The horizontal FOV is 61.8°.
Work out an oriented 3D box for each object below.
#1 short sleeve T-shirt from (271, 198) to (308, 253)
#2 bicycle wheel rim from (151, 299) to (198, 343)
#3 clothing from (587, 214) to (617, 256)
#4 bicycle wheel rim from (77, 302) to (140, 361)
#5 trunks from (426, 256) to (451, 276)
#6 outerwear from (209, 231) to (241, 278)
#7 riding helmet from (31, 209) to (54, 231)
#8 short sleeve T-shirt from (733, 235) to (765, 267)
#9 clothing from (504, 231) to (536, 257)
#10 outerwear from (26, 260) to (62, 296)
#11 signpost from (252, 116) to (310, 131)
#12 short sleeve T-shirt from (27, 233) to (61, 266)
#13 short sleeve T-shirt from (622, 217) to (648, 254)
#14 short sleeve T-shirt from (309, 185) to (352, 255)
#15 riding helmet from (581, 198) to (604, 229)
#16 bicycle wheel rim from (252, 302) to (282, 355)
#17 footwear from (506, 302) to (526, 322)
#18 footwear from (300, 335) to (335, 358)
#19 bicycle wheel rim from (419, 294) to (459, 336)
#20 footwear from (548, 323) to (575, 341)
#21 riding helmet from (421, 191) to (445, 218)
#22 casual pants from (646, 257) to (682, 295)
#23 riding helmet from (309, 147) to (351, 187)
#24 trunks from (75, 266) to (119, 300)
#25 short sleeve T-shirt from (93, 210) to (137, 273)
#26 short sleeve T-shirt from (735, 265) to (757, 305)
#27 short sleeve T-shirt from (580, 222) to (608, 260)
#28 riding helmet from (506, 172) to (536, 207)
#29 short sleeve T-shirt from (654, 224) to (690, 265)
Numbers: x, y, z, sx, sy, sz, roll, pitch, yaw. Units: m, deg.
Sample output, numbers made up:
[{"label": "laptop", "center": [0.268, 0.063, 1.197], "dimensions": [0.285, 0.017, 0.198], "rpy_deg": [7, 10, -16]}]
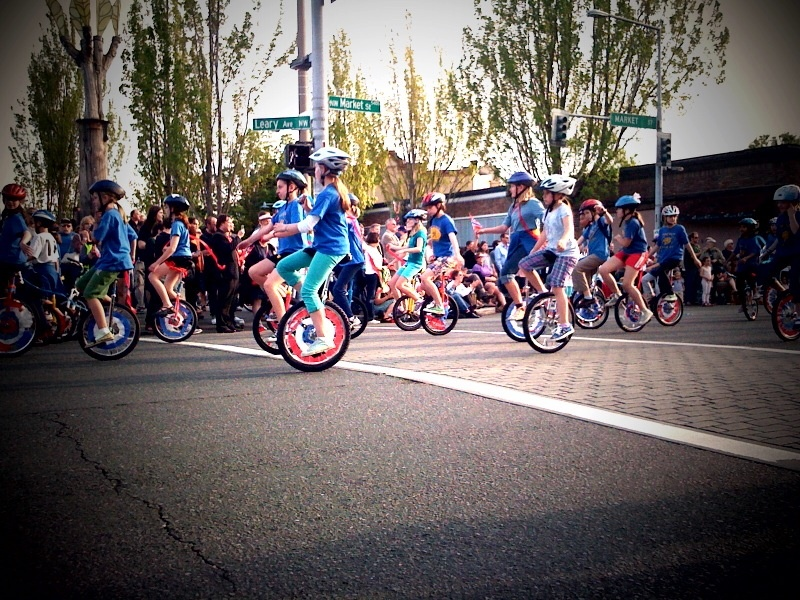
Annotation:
[{"label": "short sleeve T-shirt", "center": [-1.601, -1.034, 9.624], "dimensions": [0.454, 0.775, 0.725], "rpy_deg": [-8, 19, -34]}, {"label": "bicycle wheel rim", "center": [-3.622, 0.328, 10.876], "dimensions": [0.680, 0.739, 0.712], "rpy_deg": [-3, 20, -5]}, {"label": "clothing", "center": [3.604, -1.158, 12.068], "dimensions": [0.332, 0.667, 0.659], "rpy_deg": [17, -29, -21]}, {"label": "bicycle wheel rim", "center": [-3.757, 0.407, 8.631], "dimensions": [0.703, 0.724, 0.397], "rpy_deg": [-3, 6, -27]}, {"label": "trunks", "center": [0.692, -0.590, 12.118], "dimensions": [0.425, 0.290, 0.172], "rpy_deg": [-29, 0, -30]}, {"label": "outerwear", "center": [-3.279, -0.953, 13.026], "dimensions": [0.425, 0.580, 0.832], "rpy_deg": [-6, -38, 11]}, {"label": "riding helmet", "center": [-5.670, -1.267, 10.658], "dimensions": [0.316, 0.307, 0.740], "rpy_deg": [-3, 6, -28]}, {"label": "short sleeve T-shirt", "center": [8.393, -1.159, 16.222], "dimensions": [0.472, 0.896, 0.718], "rpy_deg": [-2, 9, -20]}, {"label": "clothing", "center": [1.886, -0.919, 10.446], "dimensions": [0.306, 0.364, 0.501], "rpy_deg": [10, -11, -29]}, {"label": "outerwear", "center": [-5.164, -0.311, 9.660], "dimensions": [0.194, 0.675, 0.444], "rpy_deg": [-10, -8, 24]}, {"label": "signpost", "center": [-2.677, -4.041, 15.256], "dimensions": [1.285, 0.340, 0.427], "rpy_deg": [-1, 5, -10]}, {"label": "short sleeve T-shirt", "center": [-5.186, -0.726, 9.712], "dimensions": [0.211, 0.453, 0.499], "rpy_deg": [-3, -4, 16]}, {"label": "short sleeve T-shirt", "center": [4.146, -1.133, 11.958], "dimensions": [0.502, 0.774, 0.755], "rpy_deg": [-2, 4, 15]}, {"label": "short sleeve T-shirt", "center": [-0.790, -0.971, 7.557], "dimensions": [0.433, 0.831, 0.841], "rpy_deg": [6, 24, 11]}, {"label": "riding helmet", "center": [3.416, -1.588, 12.178], "dimensions": [0.443, 0.482, 0.380], "rpy_deg": [-4, -3, 0]}, {"label": "bicycle wheel rim", "center": [-1.693, 0.388, 8.539], "dimensions": [0.161, 0.563, 0.501], "rpy_deg": [-4, -25, 20]}, {"label": "footwear", "center": [1.789, 0.180, 9.982], "dimensions": [0.144, 0.279, 0.385], "rpy_deg": [-4, -1, 44]}, {"label": "footwear", "center": [-0.916, 0.503, 7.454], "dimensions": [0.368, 0.169, 0.162], "rpy_deg": [-16, 1, -13]}, {"label": "bicycle wheel rim", "center": [0.684, 0.269, 12.116], "dimensions": [0.576, 0.667, 0.167], "rpy_deg": [-9, 7, -13]}, {"label": "footwear", "center": [2.202, 0.432, 9.082], "dimensions": [0.391, 0.180, 0.142], "rpy_deg": [-2, -6, -40]}, {"label": "riding helmet", "center": [0.612, -1.753, 11.919], "dimensions": [0.521, 0.559, 0.460], "rpy_deg": [2, -1, -1]}, {"label": "casual pants", "center": [5.322, -0.480, 13.677], "dimensions": [0.634, 1.004, 0.675], "rpy_deg": [7, 2, 15]}, {"label": "riding helmet", "center": [-0.855, -1.594, 7.605], "dimensions": [0.453, 0.292, 0.334], "rpy_deg": [39, 32, 24]}, {"label": "trunks", "center": [-3.926, -0.228, 8.698], "dimensions": [0.515, 0.395, 0.447], "rpy_deg": [4, 7, 41]}, {"label": "short sleeve T-shirt", "center": [-3.784, -0.825, 8.867], "dimensions": [0.421, 0.816, 0.616], "rpy_deg": [4, 6, 31]}, {"label": "short sleeve T-shirt", "center": [7.331, -0.350, 14.352], "dimensions": [0.494, 0.921, 0.236], "rpy_deg": [3, -1, -21]}, {"label": "short sleeve T-shirt", "center": [3.496, -1.071, 12.025], "dimensions": [0.267, 0.528, 0.518], "rpy_deg": [17, -27, -26]}, {"label": "riding helmet", "center": [1.873, -1.716, 10.401], "dimensions": [0.549, 0.590, 0.456], "rpy_deg": [2, 0, 7]}, {"label": "short sleeve T-shirt", "center": [5.477, -1.081, 13.557], "dimensions": [0.403, 0.911, 0.671], "rpy_deg": [11, -8, -33]}]
